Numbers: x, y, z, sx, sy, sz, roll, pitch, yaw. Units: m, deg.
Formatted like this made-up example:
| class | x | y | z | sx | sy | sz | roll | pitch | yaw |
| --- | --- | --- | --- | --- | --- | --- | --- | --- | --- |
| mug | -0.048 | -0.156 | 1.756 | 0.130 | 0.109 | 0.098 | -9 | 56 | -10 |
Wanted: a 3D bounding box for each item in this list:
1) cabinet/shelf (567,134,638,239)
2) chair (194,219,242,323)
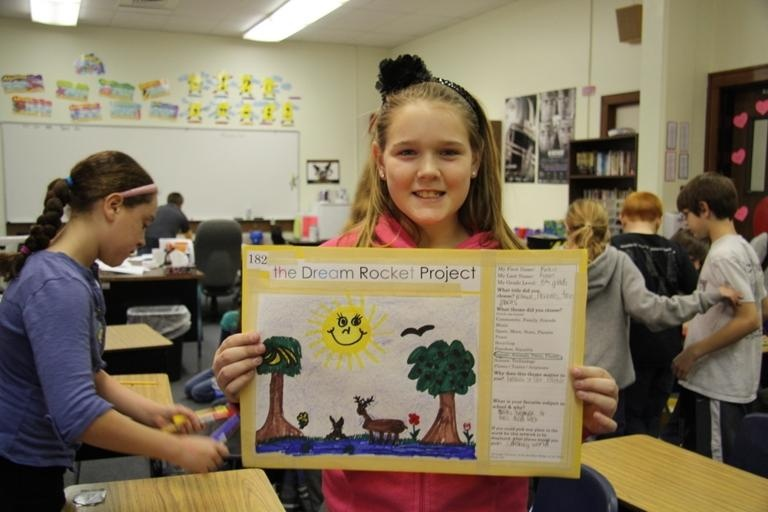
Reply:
| class | x | y | z | sx | sy | sz | roll | pitch | yaw |
| --- | --- | --- | --- | --- | --- | --- | --- | --- | --- |
| cabinet/shelf | 2.266 | -0.904 | 6.576 | 0.371 | 1.519 | 0.698 | -1 | 2 | -32 |
| chair | -1.838 | 0.147 | 6.995 | 0.583 | 1.043 | 0.569 | 3 | 14 | -8 |
